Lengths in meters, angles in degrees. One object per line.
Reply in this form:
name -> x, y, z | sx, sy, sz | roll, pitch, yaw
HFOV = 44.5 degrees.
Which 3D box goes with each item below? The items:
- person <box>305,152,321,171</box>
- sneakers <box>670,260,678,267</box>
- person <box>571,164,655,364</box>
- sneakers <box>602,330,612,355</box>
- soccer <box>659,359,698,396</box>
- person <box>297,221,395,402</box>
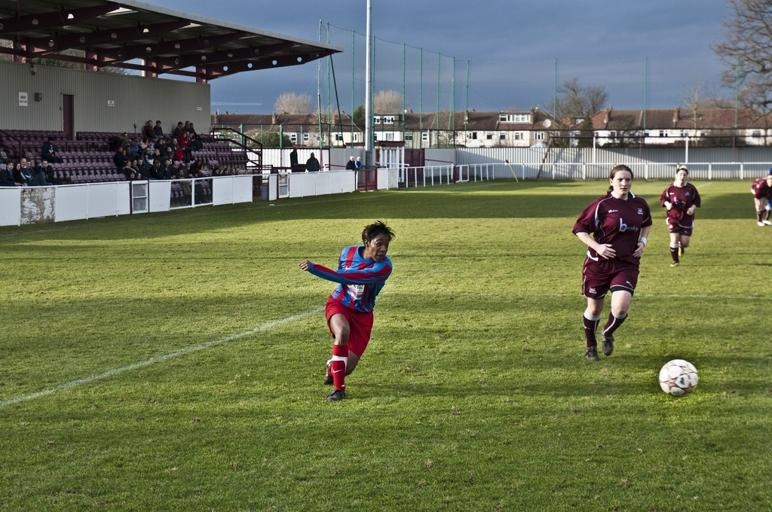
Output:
person -> -3.123, -4.019, 40.724 | 0.507, 0.739, 1.215 | -1, 9, -1
sneakers -> 5.620, 0.170, 18.328 | 0.088, 0.142, 0.149 | 4, 7, 28
person -> 2.990, 0.089, 12.413 | 0.952, 2.499, 0.691 | -1, 9, -1
sneakers -> 2.964, 1.158, 12.518 | 0.104, 0.297, 0.132 | -2, 0, 28
soccer -> 3.551, 1.486, 11.391 | 0.451, 0.413, 0.243 | 1, 10, 12
person -> -0.382, 0.649, 11.338 | 0.982, 2.086, 0.454 | -3, 10, -12
